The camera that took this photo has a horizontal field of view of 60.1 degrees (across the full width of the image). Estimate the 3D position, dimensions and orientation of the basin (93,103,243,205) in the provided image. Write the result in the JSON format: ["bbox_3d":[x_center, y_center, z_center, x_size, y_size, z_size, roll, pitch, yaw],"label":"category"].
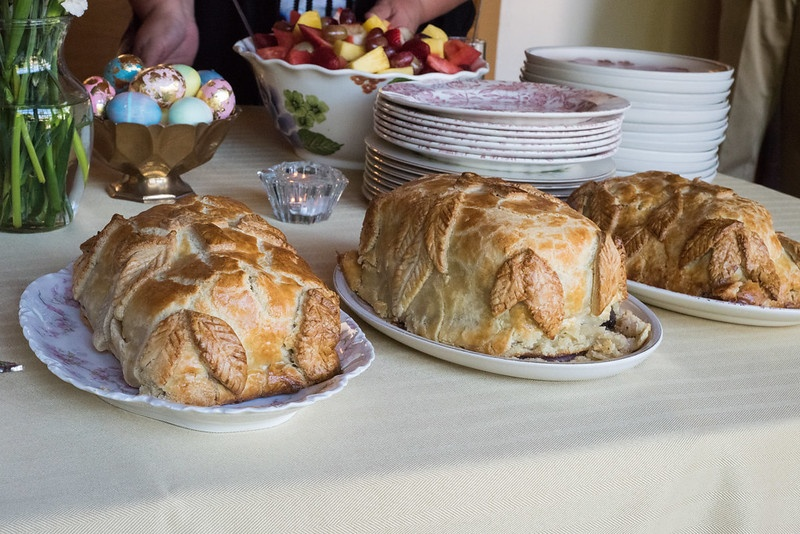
[{"bbox_3d":[-0.492,-0.218,1.367,0.293,0.146,0.294,1,14,0],"label":"basin"}]

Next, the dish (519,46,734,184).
[{"bbox_3d":[0.551,-0.343,1.575,0.352,0.180,0.368,4,-2,40],"label":"dish"}]

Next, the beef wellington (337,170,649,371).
[{"bbox_3d":[0.113,0.001,0.916,0.267,0.144,0.348,-9,19,-41],"label":"beef wellington"}]

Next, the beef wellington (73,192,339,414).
[{"bbox_3d":[-0.265,0.002,0.916,0.278,0.154,0.421,-7,29,-29],"label":"beef wellington"}]

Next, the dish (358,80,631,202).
[{"bbox_3d":[0.218,-0.250,1.372,0.395,0.173,0.399,4,16,-11],"label":"dish"}]
